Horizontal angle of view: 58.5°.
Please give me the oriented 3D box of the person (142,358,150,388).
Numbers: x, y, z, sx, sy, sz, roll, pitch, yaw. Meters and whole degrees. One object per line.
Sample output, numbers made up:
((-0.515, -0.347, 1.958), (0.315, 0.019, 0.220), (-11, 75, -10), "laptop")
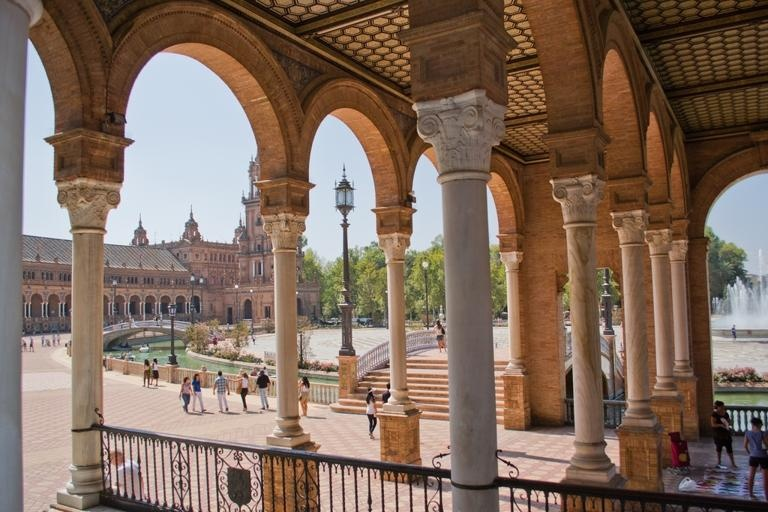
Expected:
((-9.398, 4.687, 27.243), (0.273, 0.944, 1.424), (1, -7, -19), "person")

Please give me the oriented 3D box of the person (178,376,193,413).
((-6.146, 4.325, 21.355), (0.295, 1.061, 1.639), (1, -7, -16), "person")

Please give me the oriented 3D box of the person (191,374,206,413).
((-5.857, 4.318, 21.679), (0.446, 1.168, 1.407), (1, -7, -16), "person")

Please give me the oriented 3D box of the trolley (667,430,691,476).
((6.338, 4.243, 14.778), (0.375, 0.864, 0.466), (-3, -7, 20), "trolley")

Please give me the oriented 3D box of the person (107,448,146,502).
((-3.916, 3.300, 10.260), (0.471, 0.877, 0.385), (6, 20, 4), "person")

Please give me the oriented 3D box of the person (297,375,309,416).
((-2.419, 4.268, 20.771), (0.260, 1.116, 1.007), (0, -7, -10), "person")
